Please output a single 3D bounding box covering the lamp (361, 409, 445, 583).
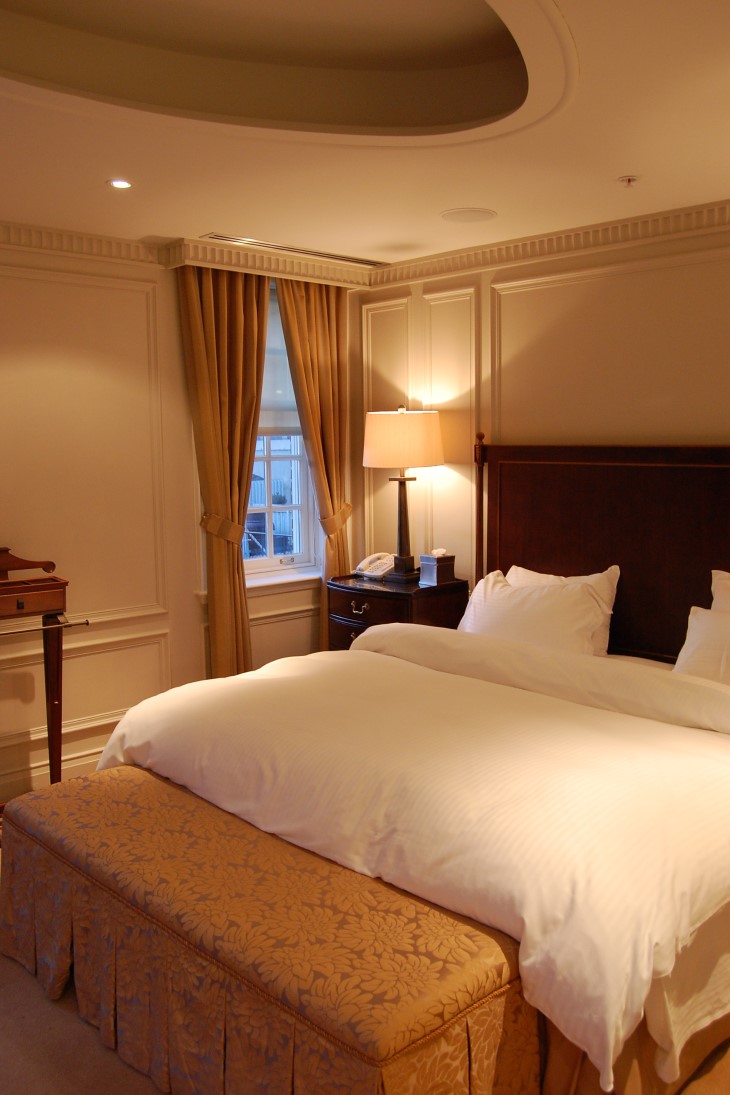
[{"bbox_3d":[0.211,-0.273,4.224,0.417,0.983,0.445,2,14,17],"label":"lamp"}]

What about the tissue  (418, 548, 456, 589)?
[{"bbox_3d":[0.380,0.102,4.026,0.194,0.204,0.155,-2,2,-44],"label":"tissue "}]

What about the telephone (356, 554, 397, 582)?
[{"bbox_3d":[0.084,0.098,4.272,0.124,0.078,0.162,-3,23,48],"label":"telephone"}]
